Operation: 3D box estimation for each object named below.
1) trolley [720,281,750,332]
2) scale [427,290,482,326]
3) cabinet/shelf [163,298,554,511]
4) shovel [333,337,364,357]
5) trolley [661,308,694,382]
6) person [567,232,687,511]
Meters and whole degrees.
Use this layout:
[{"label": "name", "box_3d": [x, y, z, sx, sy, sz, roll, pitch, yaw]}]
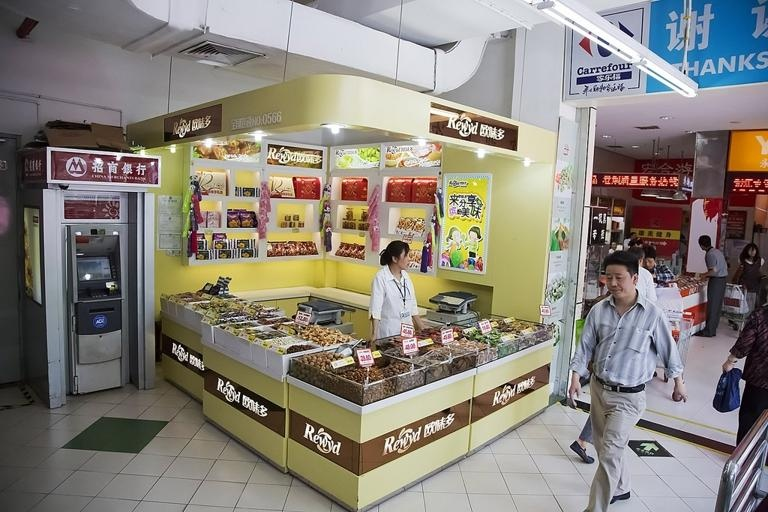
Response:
[{"label": "trolley", "box_3d": [8.436, 1.184, 11.539, 0.547, 0.940, 0.914, 6, -7, 30]}, {"label": "scale", "box_3d": [1.162, 0.815, 7.584, 0.588, 0.372, 0.551, 0, 2, -41]}, {"label": "cabinet/shelf", "box_3d": [-0.766, 1.549, 5.768, 2.664, 0.887, 2.831, 13, 10, 34]}, {"label": "shovel", "box_3d": [-0.425, 1.084, 5.613, 0.241, 0.038, 0.144, -24, 19, -27]}, {"label": "trolley", "box_3d": [5.254, 1.672, 8.384, 0.493, 0.820, 0.452, 15, -11, 0]}, {"label": "person", "box_3d": [2.445, 1.310, 5.084, 0.974, 2.686, 0.871, -10, 19, -41]}]
